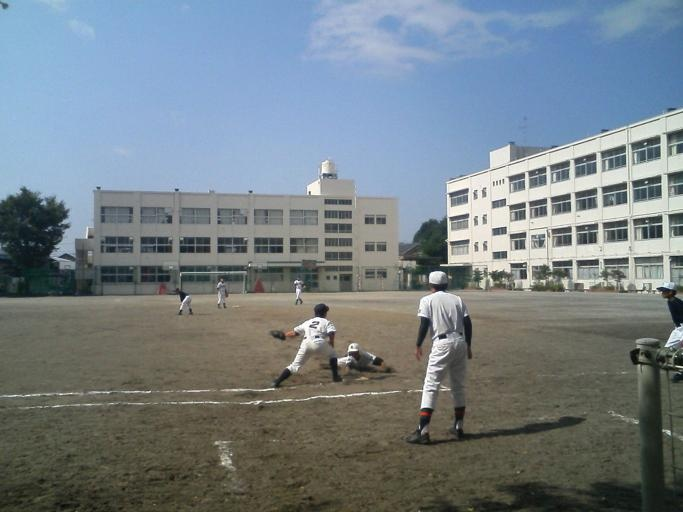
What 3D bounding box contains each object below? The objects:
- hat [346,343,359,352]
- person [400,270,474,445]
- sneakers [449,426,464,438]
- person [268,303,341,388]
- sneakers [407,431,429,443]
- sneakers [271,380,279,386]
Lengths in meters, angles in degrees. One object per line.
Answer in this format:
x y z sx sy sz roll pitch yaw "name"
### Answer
0.242 1.922 13.306 0.307 0.184 0.491 0 -8 5 "hat"
1.405 1.383 8.891 0.927 2.282 0.681 -1 5 -8 "person"
1.619 2.452 8.885 0.244 0.140 0.148 5 7 44 "sneakers"
-0.605 1.617 11.493 1.042 1.448 1.188 2 5 19 "person"
1.048 2.474 8.633 0.289 0.214 0.143 4 -19 7 "sneakers"
-1.174 2.240 11.186 0.110 0.107 0.166 -1 -3 -16 "sneakers"
